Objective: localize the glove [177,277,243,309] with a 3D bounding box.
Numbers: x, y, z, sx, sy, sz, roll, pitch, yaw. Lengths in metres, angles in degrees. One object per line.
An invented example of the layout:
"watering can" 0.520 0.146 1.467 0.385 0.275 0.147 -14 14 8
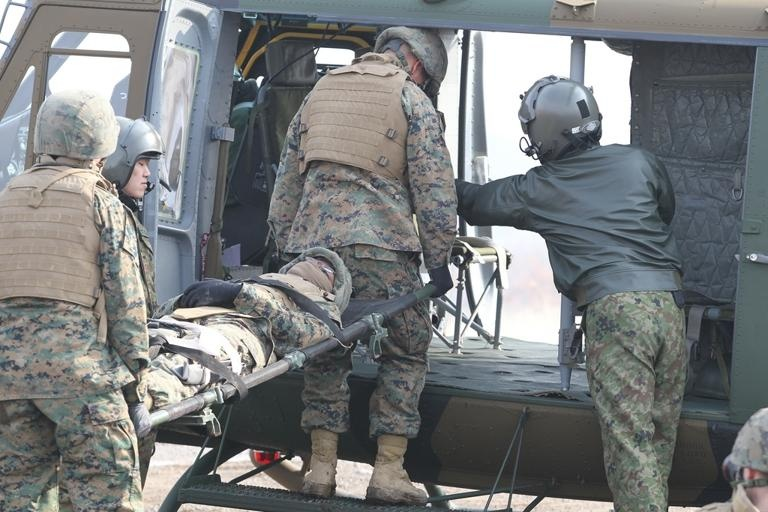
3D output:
"glove" -0.839 0.192 5.058 0.210 0.081 0.167 -7 10 37

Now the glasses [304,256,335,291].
"glasses" -0.319 0.102 5.460 0.152 0.075 0.122 36 -14 17

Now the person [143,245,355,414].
"person" -0.650 0.326 5.057 0.613 0.714 1.233 8 5 28

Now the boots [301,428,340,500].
"boots" -0.340 1.100 5.589 0.168 0.331 0.365 5 4 -2

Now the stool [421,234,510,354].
"stool" 0.777 0.313 8.018 0.740 0.801 0.664 8 -9 9

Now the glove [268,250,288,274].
"glove" -0.660 0.044 6.493 0.099 0.137 0.140 9 2 5

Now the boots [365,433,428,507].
"boots" 0.078 1.132 5.535 0.325 0.348 0.183 6 4 3

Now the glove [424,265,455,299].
"glove" 0.325 0.160 5.837 0.145 0.259 0.193 -2 -4 22

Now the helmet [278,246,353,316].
"helmet" -0.348 0.102 5.566 0.291 0.384 0.223 -15 1 -16

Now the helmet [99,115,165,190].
"helmet" -1.303 -0.555 5.769 0.385 0.365 0.308 11 3 6
